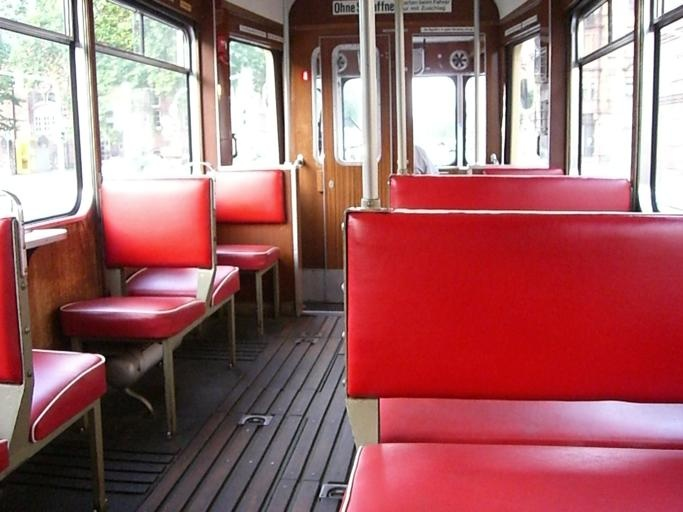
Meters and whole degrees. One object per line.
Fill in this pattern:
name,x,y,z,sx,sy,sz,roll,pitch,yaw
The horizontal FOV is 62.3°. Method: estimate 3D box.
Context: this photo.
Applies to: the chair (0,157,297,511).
chair,-1.214,0.133,4.115,0.804,1.426,2.010,1,10,7
